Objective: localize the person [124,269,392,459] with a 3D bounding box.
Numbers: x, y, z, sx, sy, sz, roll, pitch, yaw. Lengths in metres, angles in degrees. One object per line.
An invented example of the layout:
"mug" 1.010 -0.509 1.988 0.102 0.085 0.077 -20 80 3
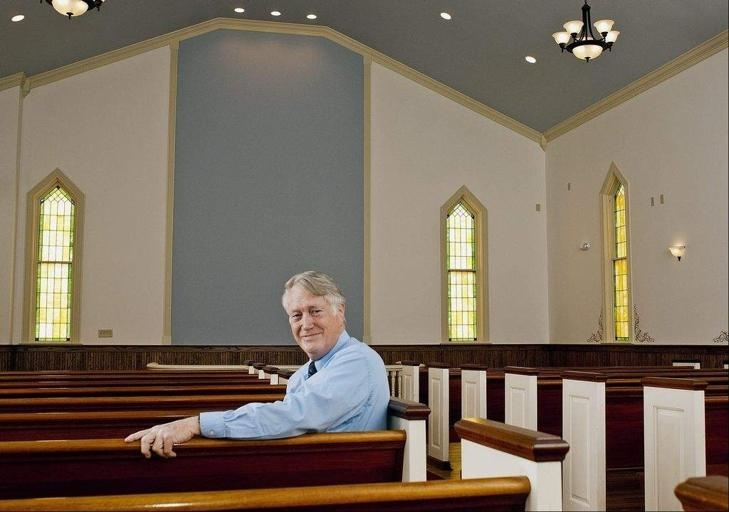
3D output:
"person" -0.601 0.734 4.694 1.589 1.205 0.956 2 -3 -34

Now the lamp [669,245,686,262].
"lamp" 4.782 -0.031 11.113 0.207 0.202 0.233 2 -5 4
